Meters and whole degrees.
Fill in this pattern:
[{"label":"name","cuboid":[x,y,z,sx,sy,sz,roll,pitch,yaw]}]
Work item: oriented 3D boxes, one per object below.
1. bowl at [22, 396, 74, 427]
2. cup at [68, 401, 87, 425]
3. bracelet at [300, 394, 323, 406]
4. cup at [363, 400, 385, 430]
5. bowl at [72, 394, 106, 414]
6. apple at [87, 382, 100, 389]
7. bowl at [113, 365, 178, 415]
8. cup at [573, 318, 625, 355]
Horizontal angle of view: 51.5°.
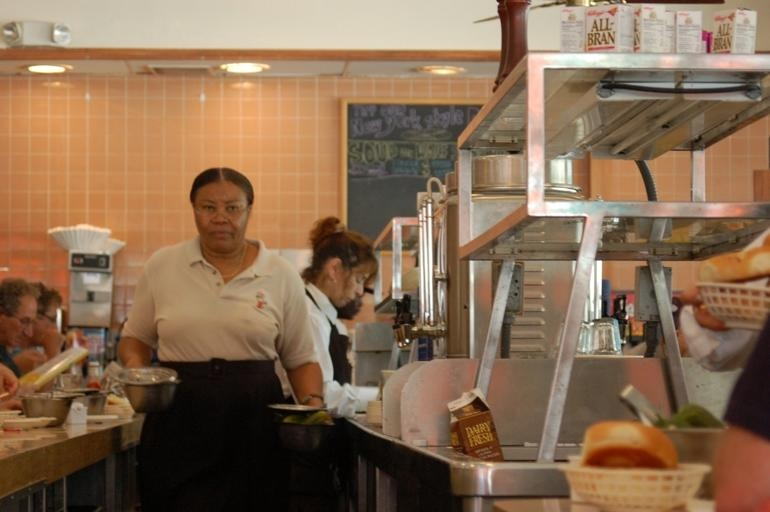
[{"label":"bowl","cuboid":[-1.300,0.594,3.119,0.160,0.055,0.149,1,-8,0]},{"label":"cup","cuboid":[-1.234,0.636,3.208,0.093,0.096,0.088,0,-7,0]},{"label":"bracelet","cuboid":[-0.272,0.560,3.092,0.057,0.018,0.051,1,0,28]},{"label":"cup","cuboid":[-0.033,0.568,2.860,0.115,0.095,0.109,3,-7,0]},{"label":"bowl","cuboid":[-1.276,0.639,3.454,0.120,0.070,0.113,1,-5,0]},{"label":"apple","cuboid":[-1.558,0.697,4.273,0.076,0.040,0.072,6,-9,-31]},{"label":"bowl","cuboid":[-0.836,0.467,2.798,0.187,0.104,0.181,3,-6,0]},{"label":"cup","cuboid":[0.719,0.268,2.675,0.136,0.109,0.121,-1,3,13]}]
